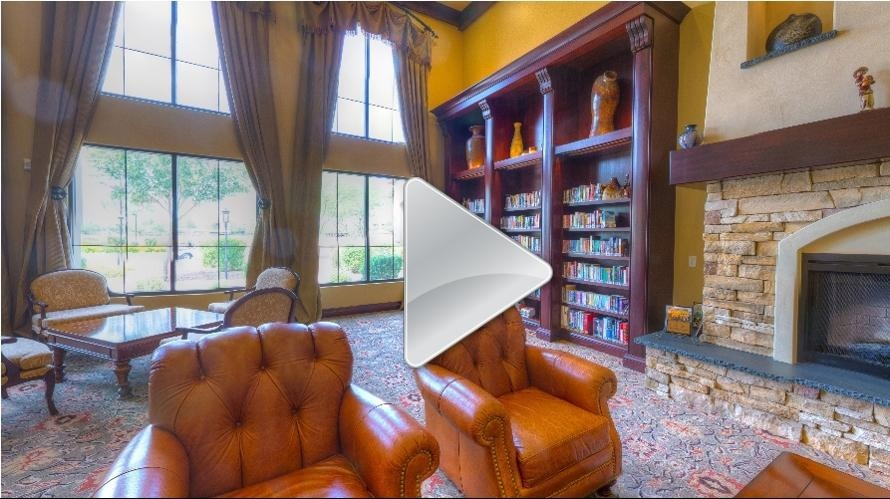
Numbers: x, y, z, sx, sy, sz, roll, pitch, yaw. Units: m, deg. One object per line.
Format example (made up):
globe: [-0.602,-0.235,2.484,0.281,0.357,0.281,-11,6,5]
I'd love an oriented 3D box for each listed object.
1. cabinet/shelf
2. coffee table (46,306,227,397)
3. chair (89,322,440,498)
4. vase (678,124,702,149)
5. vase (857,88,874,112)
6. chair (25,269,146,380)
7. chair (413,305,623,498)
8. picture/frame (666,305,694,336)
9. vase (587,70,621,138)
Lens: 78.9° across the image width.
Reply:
cabinet/shelf: [1.840,-0.846,8.449,1.085,4.966,3.577,0,-2,-39]
coffee table: [-4.254,1.271,7.119,1.038,0.504,1.421,9,5,5]
chair: [-1.916,1.651,5.656,2.435,1.887,1.922,1,-6,-23]
vase: [3.056,-1.400,6.730,0.218,0.312,0.186,-2,-2,26]
vase: [4.748,-1.664,6.041,0.170,0.225,0.080,-1,-2,-7]
chair: [-5.066,0.790,7.531,0.967,1.065,1.243,0,3,30]
chair: [0.772,1.549,6.175,2.051,1.954,1.933,-5,0,-34]
picture/frame: [3.009,0.911,6.905,0.041,0.303,0.406,1,-4,-30]
vase: [2.339,-2.107,7.880,0.420,0.967,0.403,-2,-2,17]
